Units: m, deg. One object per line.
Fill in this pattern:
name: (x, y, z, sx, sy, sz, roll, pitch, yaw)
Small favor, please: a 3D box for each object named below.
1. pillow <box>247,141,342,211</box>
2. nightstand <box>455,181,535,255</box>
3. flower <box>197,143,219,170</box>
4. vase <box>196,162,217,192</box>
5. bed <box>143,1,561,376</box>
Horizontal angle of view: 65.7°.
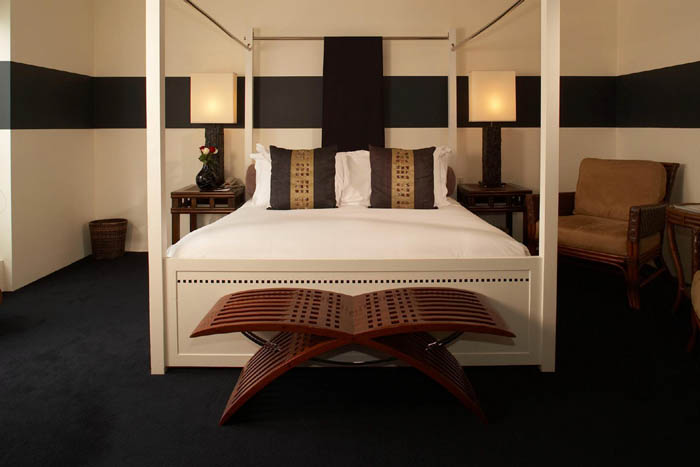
pillow: (-0.525, -0.517, 5.110, 0.712, 0.699, 0.235, 0, -8, 4)
nightstand: (1.663, -0.123, 6.007, 0.746, 0.817, 0.815, -1, 10, -5)
flower: (-1.598, -0.869, 6.120, 0.255, 0.247, 0.266, 0, 12, -12)
vase: (-1.586, -0.617, 5.991, 0.255, 0.393, 0.273, -3, 7, -25)
bed: (0.082, -0.407, 5.203, 2.631, 2.938, 2.664, 0, 1, 2)
